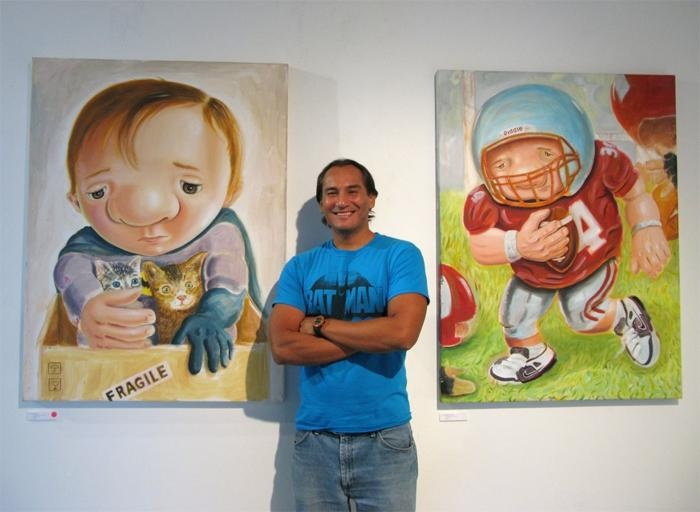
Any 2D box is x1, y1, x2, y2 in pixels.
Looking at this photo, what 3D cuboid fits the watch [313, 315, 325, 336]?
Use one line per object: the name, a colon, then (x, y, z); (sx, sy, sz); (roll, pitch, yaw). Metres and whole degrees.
watch: (-0.152, 0.327, 3.455); (0.057, 0.089, 0.079); (14, -33, 11)
